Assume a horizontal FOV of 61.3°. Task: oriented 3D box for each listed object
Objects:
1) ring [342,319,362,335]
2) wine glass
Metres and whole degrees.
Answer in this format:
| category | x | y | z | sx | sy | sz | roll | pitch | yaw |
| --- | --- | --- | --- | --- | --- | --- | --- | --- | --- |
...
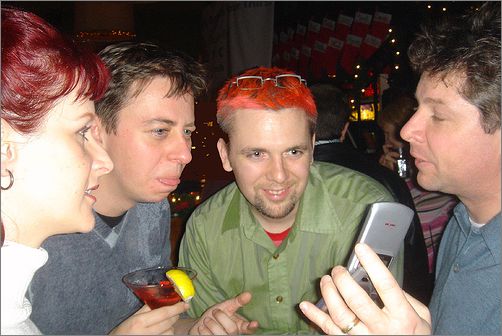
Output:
| category | x | y | z | sx | sy | sz | roll | pitch | yaw |
| --- | --- | --- | --- | --- | --- | --- | --- | --- | --- |
| ring | 0.595 | 0.933 | 2.478 | 0.104 | 0.096 | 0.027 | -2 | 18 | -12 |
| wine glass | -0.706 | 0.871 | 3.082 | 0.405 | 0.177 | 0.392 | 1 | -5 | -13 |
